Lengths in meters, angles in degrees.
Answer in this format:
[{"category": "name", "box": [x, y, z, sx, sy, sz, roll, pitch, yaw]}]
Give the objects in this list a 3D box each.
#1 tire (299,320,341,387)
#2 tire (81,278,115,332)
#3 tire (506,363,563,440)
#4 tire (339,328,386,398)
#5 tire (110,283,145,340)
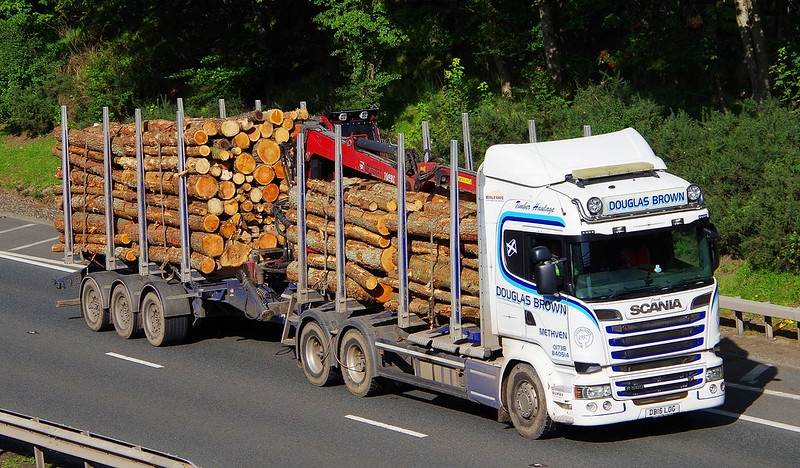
[{"category": "tire", "box": [-2.039, 3.057, 24.774, 0.487, 1.489, 1.475, -5, 13, -30]}, {"category": "tire", "box": [-9.045, 2.123, 28.926, 0.577, 1.502, 1.378, -6, 11, -36]}, {"category": "tire", "box": [3.071, 3.760, 21.851, 0.662, 1.989, 1.724, -4, 0, -39]}, {"category": "tire", "box": [-1.110, 3.254, 24.260, 0.501, 1.514, 1.502, -6, -23, -27]}, {"category": "tire", "box": [-7.968, 2.234, 28.222, 0.542, 1.698, 1.530, -6, 7, -36]}]
